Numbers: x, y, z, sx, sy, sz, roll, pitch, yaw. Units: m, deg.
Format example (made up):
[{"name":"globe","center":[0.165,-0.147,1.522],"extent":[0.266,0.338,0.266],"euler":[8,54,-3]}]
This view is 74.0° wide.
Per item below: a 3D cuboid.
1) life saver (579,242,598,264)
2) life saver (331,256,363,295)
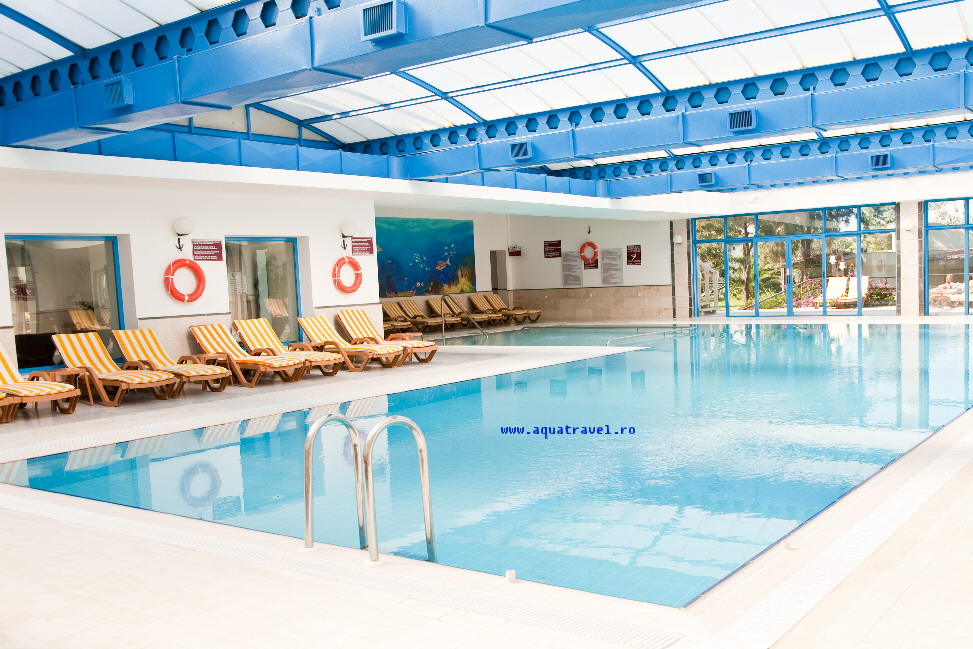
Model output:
[{"name":"life saver","center":[4.139,-2.943,26.084],"extent":[0.849,0.753,0.274],"euler":[-12,2,38]},{"name":"life saver","center":[-3.322,-1.192,15.416],"extent":[0.164,0.894,0.806],"euler":[2,8,39]}]
